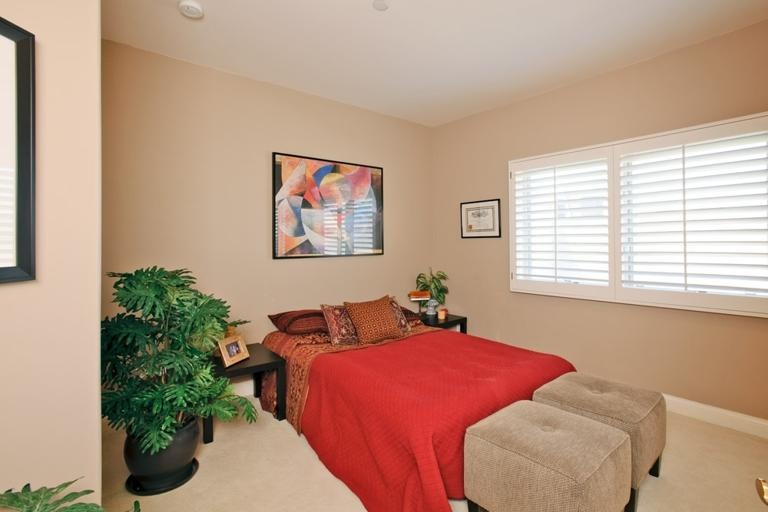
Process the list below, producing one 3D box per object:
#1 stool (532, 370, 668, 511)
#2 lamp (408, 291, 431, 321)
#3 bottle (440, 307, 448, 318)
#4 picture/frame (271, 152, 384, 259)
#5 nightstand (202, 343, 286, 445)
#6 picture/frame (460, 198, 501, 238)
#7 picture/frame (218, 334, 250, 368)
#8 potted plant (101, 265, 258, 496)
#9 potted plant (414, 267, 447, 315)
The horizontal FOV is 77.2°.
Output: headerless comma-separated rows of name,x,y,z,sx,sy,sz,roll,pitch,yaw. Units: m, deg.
stool,1.519,1.193,3.564,0.837,0.691,0.817,-2,2,-41
lamp,0.383,0.570,5.566,0.306,0.350,0.255,1,-2,-30
bottle,0.650,0.637,5.412,0.081,0.103,0.138,-4,5,-43
picture/frame,-0.636,-0.530,4.999,1.203,0.869,0.023,-2,4,-42
nightstand,-1.240,1.173,4.238,0.644,0.490,0.648,-2,4,-37
picture/frame,1.099,-0.430,5.418,0.036,0.413,0.475,-3,2,-43
picture/frame,-1.256,0.784,4.091,0.232,0.219,0.081,-22,-7,12
potted plant,-1.615,0.940,3.430,1.050,1.447,1.038,-7,4,-37
potted plant,0.566,0.359,5.617,0.331,0.325,0.314,-7,17,-14
